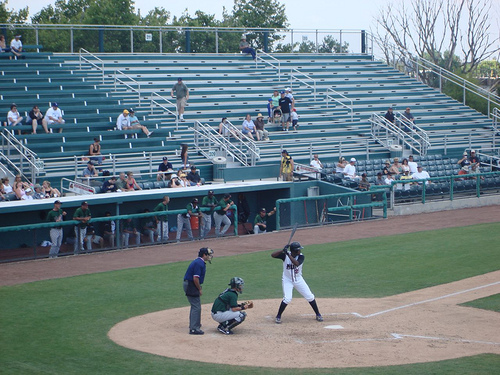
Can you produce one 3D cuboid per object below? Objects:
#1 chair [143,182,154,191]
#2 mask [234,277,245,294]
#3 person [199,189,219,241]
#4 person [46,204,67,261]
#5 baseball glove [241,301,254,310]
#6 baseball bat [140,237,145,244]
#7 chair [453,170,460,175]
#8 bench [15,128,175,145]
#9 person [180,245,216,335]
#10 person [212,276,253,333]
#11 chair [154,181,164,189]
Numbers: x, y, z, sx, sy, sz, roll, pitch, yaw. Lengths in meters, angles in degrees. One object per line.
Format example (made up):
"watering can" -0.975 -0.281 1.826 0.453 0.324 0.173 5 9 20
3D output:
"chair" -4.420 -0.069 44.837 0.423 0.378 0.301 -2 5 -39
"mask" -0.382 3.132 33.665 0.477 0.459 0.372 0 -1 3
"person" -1.931 1.168 43.248 0.623 2.203 0.627 8 6 36
"person" -7.575 1.702 40.231 0.643 2.135 0.605 -2 2 -12
"baseball glove" -0.134 3.858 33.988 0.451 0.330 0.687 -1 -1 -5
"baseball bat" -4.395 2.137 41.741 0.042 0.170 0.159 -29 -11 -46
"chair" 10.206 -0.757 51.581 0.346 0.297 0.196 1 -7 11
"bench" -7.562 -2.360 48.077 0.718 0.249 4.845 12 13 41
"person" -1.741 3.325 33.786 1.208 2.692 1.031 1 -1 -3
"person" -0.673 3.799 33.524 1.177 1.751 0.425 -2 2 -4
"chair" -4.008 -0.135 45.107 0.435 0.286 0.356 -2 1 -12
